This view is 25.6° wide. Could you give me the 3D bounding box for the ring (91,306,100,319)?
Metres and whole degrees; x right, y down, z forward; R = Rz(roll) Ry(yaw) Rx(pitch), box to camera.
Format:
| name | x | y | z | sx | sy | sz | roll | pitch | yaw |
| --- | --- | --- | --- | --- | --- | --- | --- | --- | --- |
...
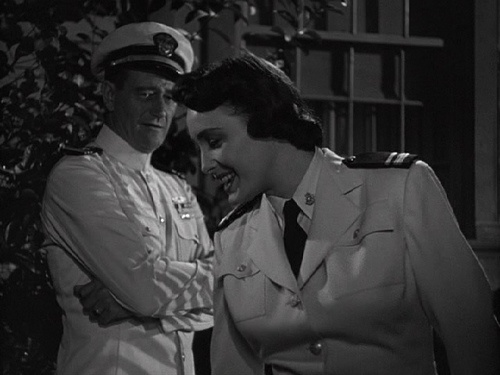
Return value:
| name | x | y | z | sx | sy | sz | roll | pitch | yaw |
| --- | --- | --- | --- | --- | --- | --- | --- | --- | --- |
| ring | -0.859 | 0.689 | 6.107 | 0.047 | 0.036 | 0.048 | 0 | -8 | 0 |
